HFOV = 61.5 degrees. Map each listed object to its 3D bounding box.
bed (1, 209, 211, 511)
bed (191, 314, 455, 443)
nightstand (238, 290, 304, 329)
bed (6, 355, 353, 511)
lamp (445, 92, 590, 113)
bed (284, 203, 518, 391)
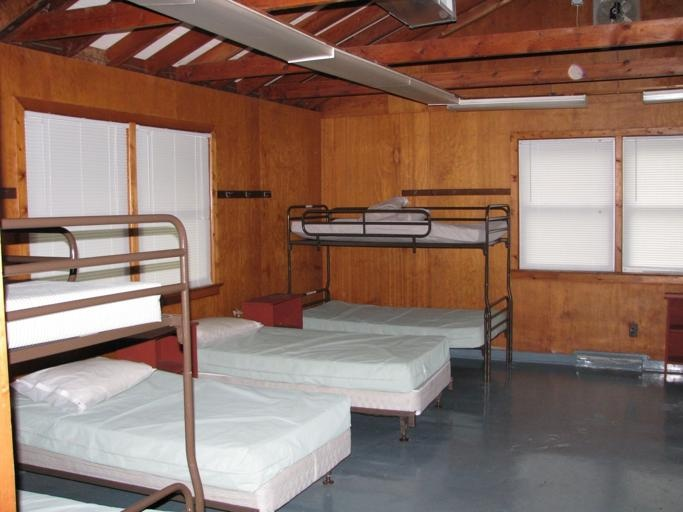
[{"bbox_3d":[-1.212,0.677,3.017,0.355,1.770,1.013,3,10,33],"label":"bed"},{"bbox_3d":[-0.407,1.089,5.953,2.797,0.607,1.305,2,10,21],"label":"bed"},{"bbox_3d":[-0.825,0.633,7.010,0.544,0.493,0.890,1,1,23],"label":"nightstand"},{"bbox_3d":[-1.191,1.280,4.047,2.191,0.305,1.170,1,3,24],"label":"bed"},{"bbox_3d":[2.095,-1.801,6.720,1.488,0.152,0.406,0,6,5],"label":"lamp"},{"bbox_3d":[0.831,0.486,7.050,3.245,1.679,1.377,1,8,25],"label":"bed"}]
